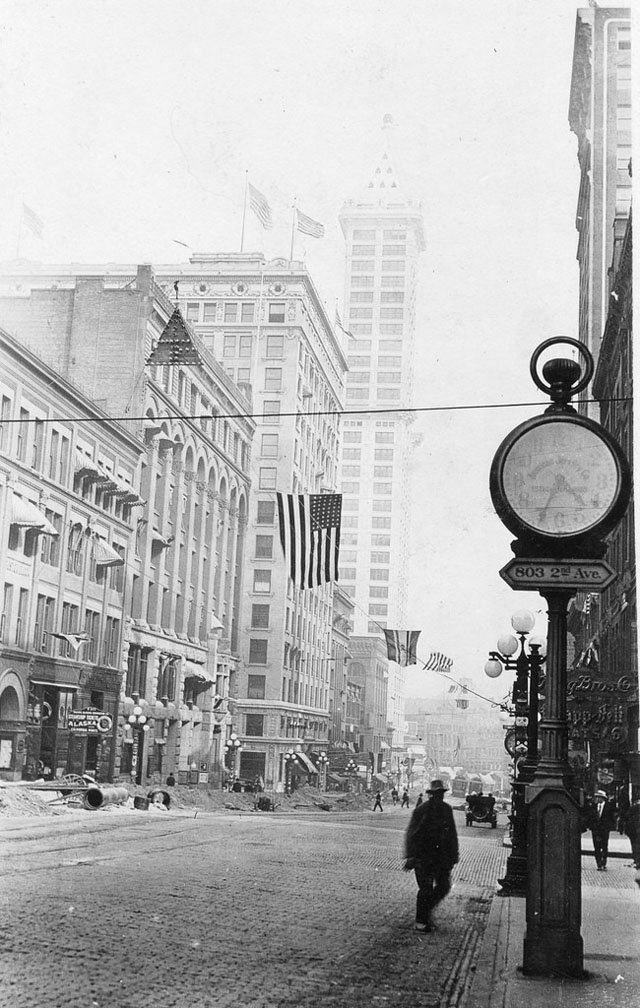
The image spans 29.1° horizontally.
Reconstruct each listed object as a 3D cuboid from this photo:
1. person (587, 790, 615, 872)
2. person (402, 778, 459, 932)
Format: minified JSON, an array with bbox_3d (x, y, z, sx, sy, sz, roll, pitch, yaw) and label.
[{"bbox_3d":[3.967,4.626,17.337,0.313,1.061,1.110,-1,-14,12],"label":"person"},{"bbox_3d":[0.983,3.101,10.902,0.472,1.253,0.909,1,-14,5],"label":"person"}]
